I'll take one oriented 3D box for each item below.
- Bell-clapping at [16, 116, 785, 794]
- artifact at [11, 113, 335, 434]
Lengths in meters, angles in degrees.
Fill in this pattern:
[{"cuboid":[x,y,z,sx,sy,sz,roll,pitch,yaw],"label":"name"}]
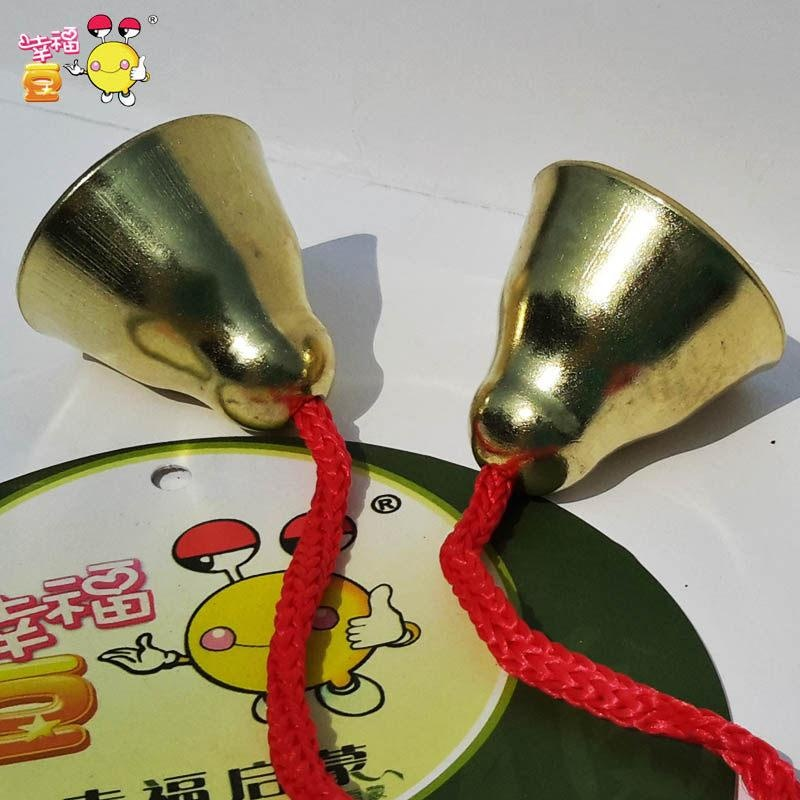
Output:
[{"cuboid":[0.020,-0.023,0.968,0.804,0.211,0.668,-1,58,-4],"label":"Bell-clapping"},{"cuboid":[-0.253,-0.125,1.174,0.334,0.282,0.283,-34,63,-30],"label":"artifact"}]
